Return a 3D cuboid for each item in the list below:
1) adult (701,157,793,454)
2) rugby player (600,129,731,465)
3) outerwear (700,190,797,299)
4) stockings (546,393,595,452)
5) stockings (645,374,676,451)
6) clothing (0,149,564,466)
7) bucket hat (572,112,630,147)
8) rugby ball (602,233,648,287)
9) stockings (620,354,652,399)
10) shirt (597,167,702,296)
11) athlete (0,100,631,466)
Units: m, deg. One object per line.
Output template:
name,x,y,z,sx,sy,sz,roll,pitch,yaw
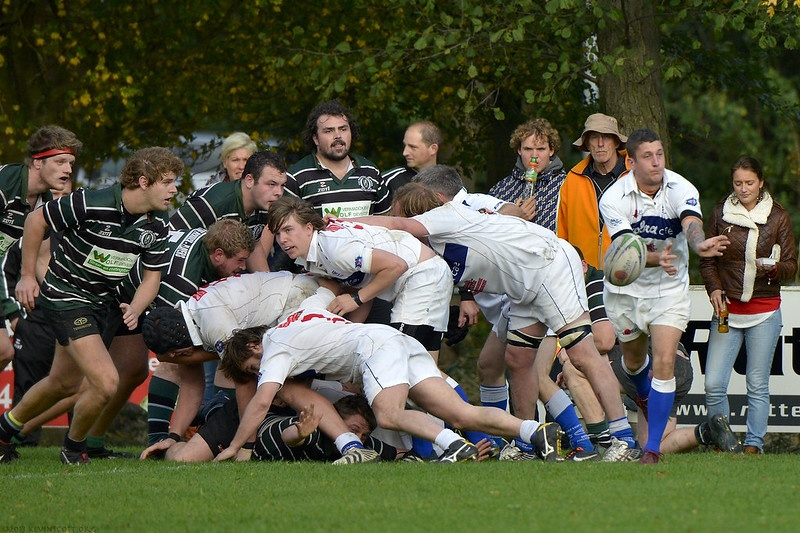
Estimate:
adult,3.567,1.032,12.163,0.681,2.239,0.584,5,24,23
rugby player,2.460,0.255,11.238,0.926,3.219,1.304,1,-3,-34
outerwear,3.685,-0.188,12.370,1.201,1.652,1.023,2,3,16
stockings,1.646,1.514,11.158,0.166,0.515,0.498,-39,-32,21
stockings,2.469,1.430,11.032,0.267,0.698,0.315,-1,-2,12
clothing,-1.107,0.438,11.366,5.662,3.054,1.710,-13,11,-12
bucket hat,2.119,-1.480,12.161,0.410,0.236,0.432,-2,-7,12
rugby ball,2.149,-0.062,10.976,0.323,0.250,0.356,-33,-24,-39
stockings,2.446,1.213,11.816,0.219,0.516,0.524,-12,-15,29
shirt,2.467,-0.312,11.623,1.188,1.724,1.105,-1,-1,6
athlete,-0.847,0.279,11.731,6.793,4.114,2.170,-10,21,-12
